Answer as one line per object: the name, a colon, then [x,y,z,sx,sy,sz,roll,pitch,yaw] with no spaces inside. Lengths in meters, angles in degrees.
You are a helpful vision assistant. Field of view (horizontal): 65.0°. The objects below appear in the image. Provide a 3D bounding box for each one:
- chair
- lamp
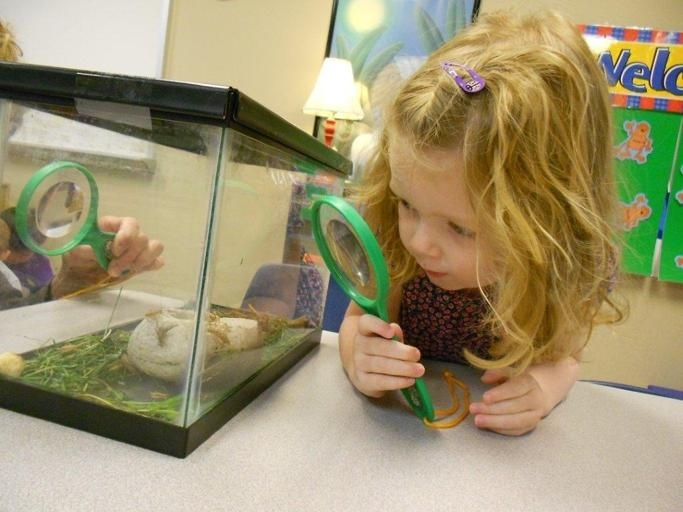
chair: [-0.082,0.070,0.924,0.108,0.143,0.204,32,7,14]
lamp: [-0.035,-0.667,2.351,0.259,0.376,0.278,9,16,7]
